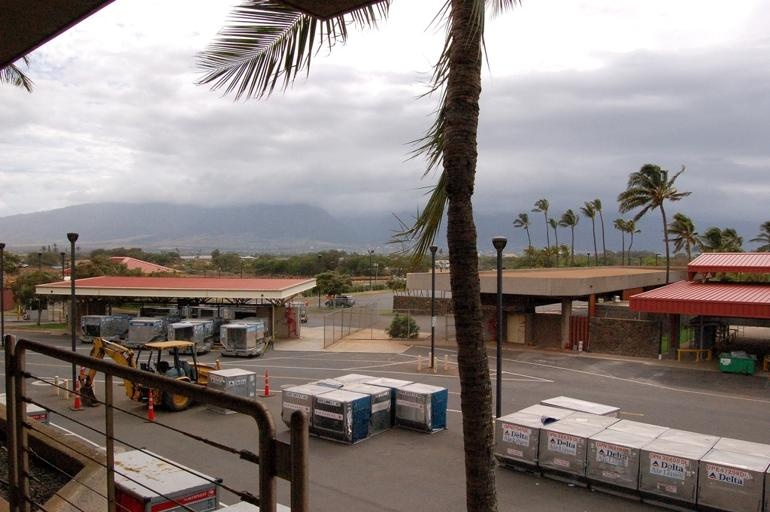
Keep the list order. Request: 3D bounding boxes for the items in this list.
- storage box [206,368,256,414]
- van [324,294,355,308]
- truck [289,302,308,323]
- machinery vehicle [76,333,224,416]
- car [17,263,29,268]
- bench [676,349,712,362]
[{"bbox_3d":[-7.251,6.358,28.994,2.204,1.480,2.144,-1,-3,18],"label":"storage box"},{"bbox_3d":[-5.679,5.956,80.517,2.565,1.094,1.990,4,-5,-33],"label":"van"},{"bbox_3d":[-8.757,5.664,61.930,2.070,1.773,3.083,0,-2,-2],"label":"truck"},{"bbox_3d":[-10.543,5.397,28.995,2.854,3.246,7.521,2,3,36],"label":"machinery vehicle"},{"bbox_3d":[-72.388,1.828,122.830,2.237,1.004,1.400,-6,-3,24],"label":"car"},{"bbox_3d":[21.453,6.790,42.289,1.508,0.600,1.207,1,5,32],"label":"bench"}]
